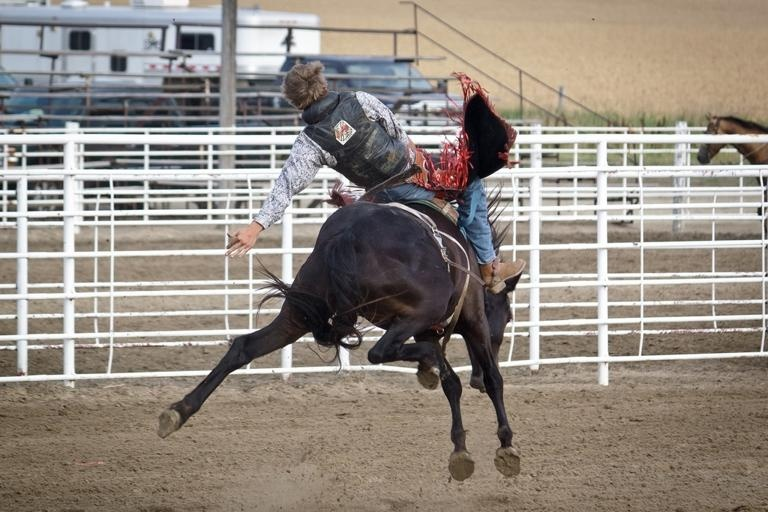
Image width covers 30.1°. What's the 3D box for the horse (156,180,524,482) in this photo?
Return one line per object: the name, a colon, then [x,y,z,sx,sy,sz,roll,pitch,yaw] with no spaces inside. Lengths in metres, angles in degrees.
horse: [-0.245,0.593,15.429,1.657,3.155,6.017,-30,-24,33]
